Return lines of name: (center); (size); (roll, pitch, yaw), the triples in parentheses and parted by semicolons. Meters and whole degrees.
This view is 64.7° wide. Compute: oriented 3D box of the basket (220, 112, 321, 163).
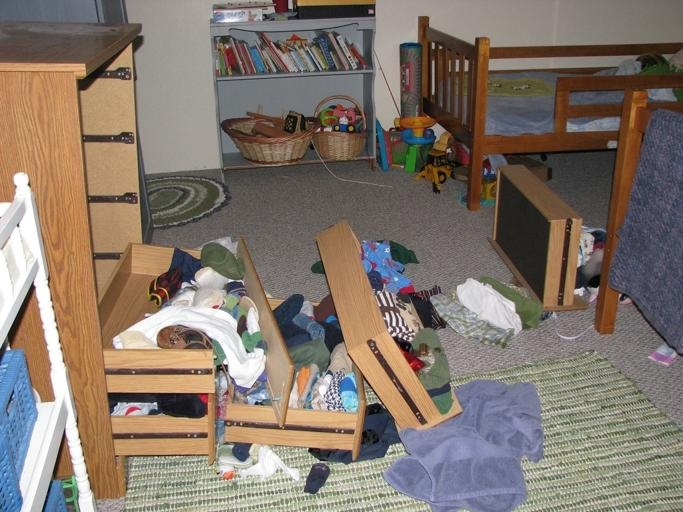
basket: (-0.595, -0.964, 4.437); (0.623, 0.236, 0.579); (-11, 27, -12)

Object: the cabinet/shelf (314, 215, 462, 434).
cabinet/shelf: (0.210, 0.314, 2.398); (0.295, 0.433, 0.843); (-21, 40, -4)

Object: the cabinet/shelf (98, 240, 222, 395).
cabinet/shelf: (-0.778, 0.233, 2.149); (0.401, 0.114, 0.723); (0, 29, -8)

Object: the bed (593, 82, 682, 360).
bed: (1.409, -0.181, 2.491); (0.370, 1.134, 0.745); (6, 29, 15)

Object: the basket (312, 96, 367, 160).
basket: (-0.012, -1.130, 4.748); (0.542, 0.558, 0.585); (1, 27, -1)

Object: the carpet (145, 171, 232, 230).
carpet: (-1.175, -0.439, 4.180); (0.583, 0.028, 0.553); (-4, 28, -8)

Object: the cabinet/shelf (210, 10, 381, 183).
cabinet/shelf: (-0.405, -1.324, 4.483); (1.791, 1.472, 0.529); (-4, 48, -5)

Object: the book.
book: (-0.410, -1.655, 4.387); (1.226, 0.302, 0.335); (-6, 28, -8)

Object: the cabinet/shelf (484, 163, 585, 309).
cabinet/shelf: (1.018, -0.085, 2.910); (0.299, 0.473, 0.857); (-7, 30, -6)

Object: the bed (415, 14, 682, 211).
bed: (1.185, -1.000, 4.347); (2.349, 1.057, 1.597); (-2, 34, -8)
